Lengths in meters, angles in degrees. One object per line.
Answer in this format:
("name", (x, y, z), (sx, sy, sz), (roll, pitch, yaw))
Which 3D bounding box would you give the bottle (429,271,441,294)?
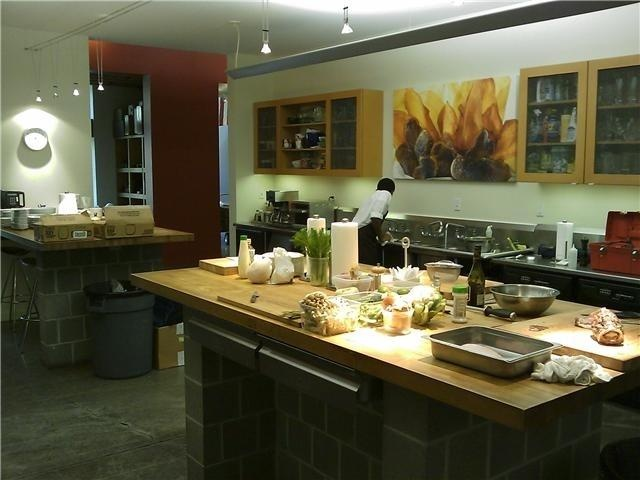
("bottle", (0.617, 0.226, 2.642), (0.049, 0.176, 0.048), (-5, 31, 3))

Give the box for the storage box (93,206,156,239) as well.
("storage box", (-2.160, -0.218, 5.179), (0.683, 0.315, 0.641), (-3, 10, -40))

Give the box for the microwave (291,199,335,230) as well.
("microwave", (-0.093, -0.430, 7.318), (0.775, 0.467, 0.429), (1, 1, 45))

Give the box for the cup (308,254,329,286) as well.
("cup", (-0.007, 0.190, 3.096), (0.165, 0.165, 0.166), (0, 8, 0))

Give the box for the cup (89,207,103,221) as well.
("cup", (-2.522, -0.284, 5.532), (0.175, 0.117, 0.172), (-2, -4, 0))

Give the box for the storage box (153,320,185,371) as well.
("storage box", (-1.505, 1.061, 4.886), (0.265, 0.439, 0.094), (-6, 10, -31))

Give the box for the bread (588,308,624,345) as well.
("bread", (1.197, 0.352, 2.060), (0.132, 0.091, 0.230), (-1, 20, 22))

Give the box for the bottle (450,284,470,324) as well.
("bottle", (0.661, 0.294, 2.318), (0.061, 0.177, 0.133), (4, 10, 24))

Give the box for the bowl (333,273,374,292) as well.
("bowl", (0.185, 0.234, 2.736), (0.157, 0.055, 0.109), (-4, 7, -32))

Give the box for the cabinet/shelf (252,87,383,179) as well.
("cabinet/shelf", (-0.087, -1.496, 7.149), (2.104, 1.139, 0.415), (7, 12, 40))

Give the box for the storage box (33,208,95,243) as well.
("storage box", (-2.481, -0.118, 4.791), (0.431, 0.213, 0.337), (-4, 8, -40))

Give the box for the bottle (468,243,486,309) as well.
("bottle", (0.820, 0.181, 2.585), (0.088, 0.326, 0.211), (2, 9, 18))

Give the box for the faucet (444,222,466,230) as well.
("faucet", (1.607, -0.162, 5.886), (0.218, 0.069, 0.097), (2, 9, 15))

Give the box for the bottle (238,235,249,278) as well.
("bottle", (-0.499, 0.112, 3.221), (0.089, 0.280, 0.307), (-2, 9, -8))

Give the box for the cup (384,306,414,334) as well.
("cup", (0.354, 0.356, 2.256), (0.136, 0.129, 0.174), (1, 9, 7))

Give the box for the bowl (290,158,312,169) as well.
("bowl", (-0.269, -1.132, 7.354), (0.235, 0.085, 0.183), (-4, 6, -43))

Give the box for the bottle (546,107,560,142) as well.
("bottle", (2.228, -1.089, 4.721), (0.112, 0.276, 0.108), (1, -2, 0))

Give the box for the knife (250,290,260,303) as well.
("knife", (-0.360, 0.316, 2.662), (0.066, 0.023, 0.092), (16, 34, -20))

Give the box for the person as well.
("person", (0.624, -0.210, 5.811), (0.434, 1.004, 0.522), (0, 9, 3))

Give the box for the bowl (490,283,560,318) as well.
("bowl", (0.985, 0.288, 2.444), (0.215, 0.070, 0.206), (-1, 6, 0))

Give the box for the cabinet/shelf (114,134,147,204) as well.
("cabinet/shelf", (-3.596, -1.292, 9.374), (0.429, 1.317, 1.645), (-5, 10, -27))

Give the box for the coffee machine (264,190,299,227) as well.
("coffee machine", (-0.620, -0.493, 7.622), (0.507, 0.626, 0.674), (1, 1, -31))

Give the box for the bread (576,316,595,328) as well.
("bread", (1.176, 0.363, 2.192), (0.060, 0.018, 0.044), (-12, 13, -39))

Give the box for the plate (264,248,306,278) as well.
("plate", (-0.195, 0.143, 3.250), (0.201, 0.111, 0.193), (1, 7, 9))

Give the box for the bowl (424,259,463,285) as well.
("bowl", (0.697, 0.173, 2.823), (0.163, 0.076, 0.154), (0, 6, 0))
